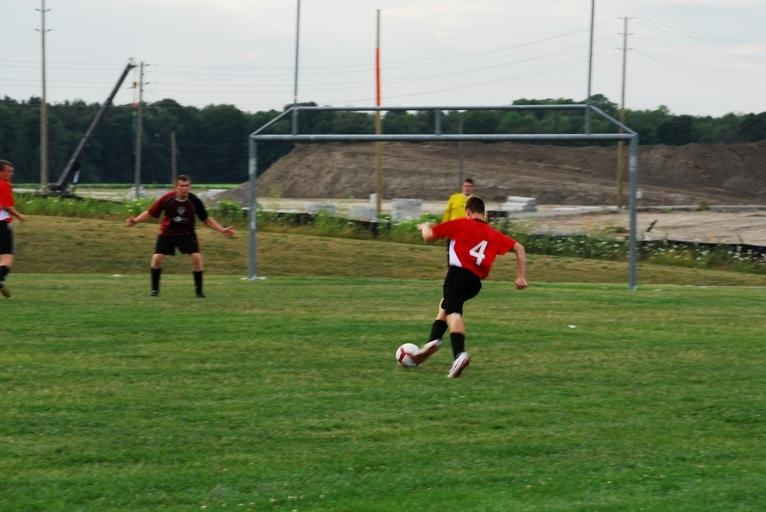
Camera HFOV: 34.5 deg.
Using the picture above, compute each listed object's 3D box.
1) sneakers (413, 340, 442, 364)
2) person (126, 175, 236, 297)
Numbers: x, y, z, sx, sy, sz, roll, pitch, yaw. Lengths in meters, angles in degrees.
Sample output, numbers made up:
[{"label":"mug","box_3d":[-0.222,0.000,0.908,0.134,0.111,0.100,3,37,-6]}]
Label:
[{"label":"sneakers","box_3d":[0.782,1.619,21.233,0.683,0.219,0.261,-23,23,37]},{"label":"person","box_3d":[-4.121,-0.404,25.154,1.554,2.474,0.680,2,3,-5]}]
